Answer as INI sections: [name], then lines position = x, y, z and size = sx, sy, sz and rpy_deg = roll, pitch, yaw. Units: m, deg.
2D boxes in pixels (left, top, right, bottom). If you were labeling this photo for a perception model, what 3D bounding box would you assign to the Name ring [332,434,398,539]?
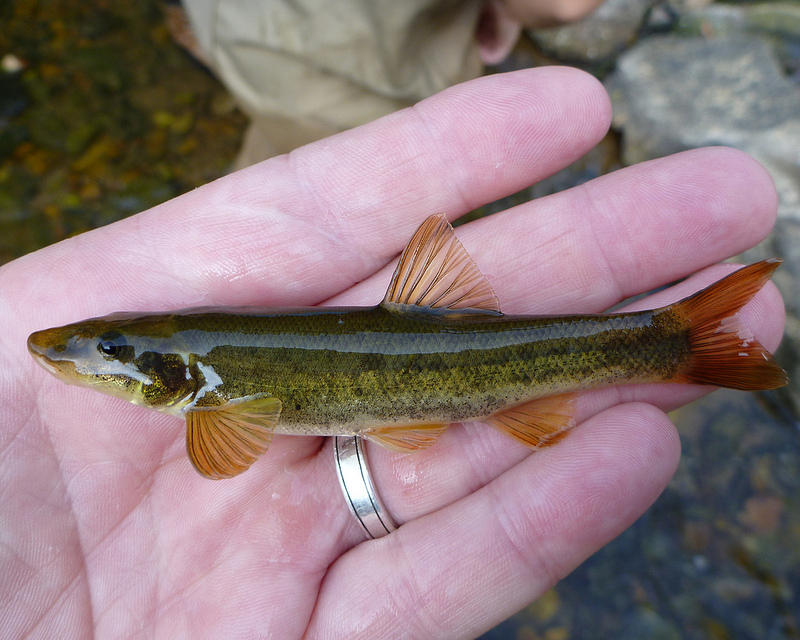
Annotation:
[Name ring]
position = -0.218, 0.900, 4.336
size = 0.134, 0.523, 0.479
rpy_deg = -22, 84, -6
